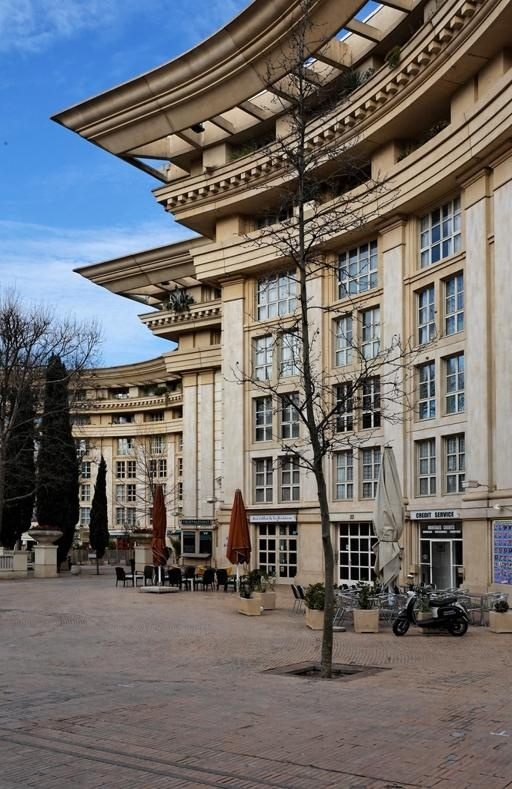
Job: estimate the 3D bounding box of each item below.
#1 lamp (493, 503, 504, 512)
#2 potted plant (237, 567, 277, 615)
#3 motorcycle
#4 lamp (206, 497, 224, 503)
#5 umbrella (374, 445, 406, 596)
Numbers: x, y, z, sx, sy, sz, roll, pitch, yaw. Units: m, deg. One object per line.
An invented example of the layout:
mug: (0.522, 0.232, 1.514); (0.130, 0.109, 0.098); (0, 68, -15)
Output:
lamp: (5.073, 2.392, 21.884); (0.117, 0.147, 0.388); (2, -9, -8)
potted plant: (0.044, 4.306, 22.392); (0.666, 1.072, 1.031); (1, -8, 0)
motorcycle: (2.965, 3.717, 17.622); (1.279, 0.941, 0.701); (3, -26, 3)
lamp: (-1.685, 4.260, 41.540); (0.610, 0.276, 0.325); (-7, -12, 41)
umbrella: (2.527, 2.348, 19.870); (0.531, 2.711, 0.657); (0, -9, 7)
